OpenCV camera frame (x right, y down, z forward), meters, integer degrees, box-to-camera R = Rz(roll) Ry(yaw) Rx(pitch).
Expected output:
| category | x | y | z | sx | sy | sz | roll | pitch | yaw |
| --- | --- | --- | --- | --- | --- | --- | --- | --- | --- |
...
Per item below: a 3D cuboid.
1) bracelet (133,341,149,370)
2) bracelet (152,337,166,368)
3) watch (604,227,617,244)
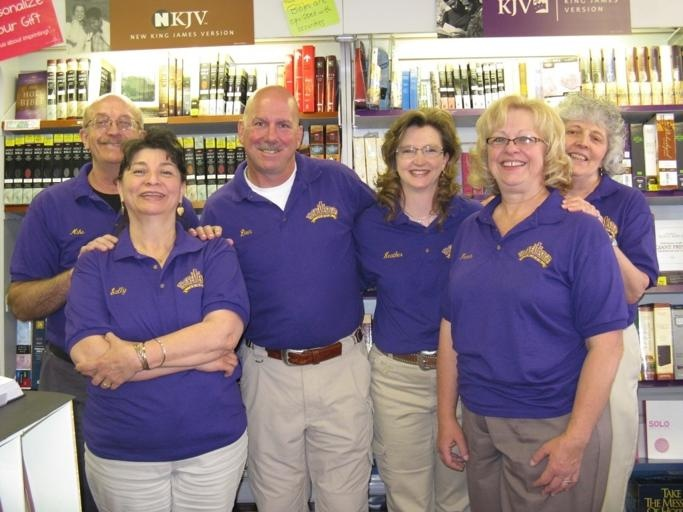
| category | x | y | z | sx | sy | sz | roll | pitch | yaw |
| --- | --- | --- | --- | --- | --- | --- | --- | --- | --- |
| bracelet | -0.765 | 0.381 | 2.357 | 0.067 | 0.087 | 0.032 | -9 | -3 | -7 |
| bracelet | -0.704 | 0.377 | 2.378 | 0.057 | 0.116 | 0.030 | -6 | 4 | -21 |
| watch | 1.103 | -0.085 | 2.528 | 0.052 | 0.068 | 0.024 | 6 | -7 | 0 |
